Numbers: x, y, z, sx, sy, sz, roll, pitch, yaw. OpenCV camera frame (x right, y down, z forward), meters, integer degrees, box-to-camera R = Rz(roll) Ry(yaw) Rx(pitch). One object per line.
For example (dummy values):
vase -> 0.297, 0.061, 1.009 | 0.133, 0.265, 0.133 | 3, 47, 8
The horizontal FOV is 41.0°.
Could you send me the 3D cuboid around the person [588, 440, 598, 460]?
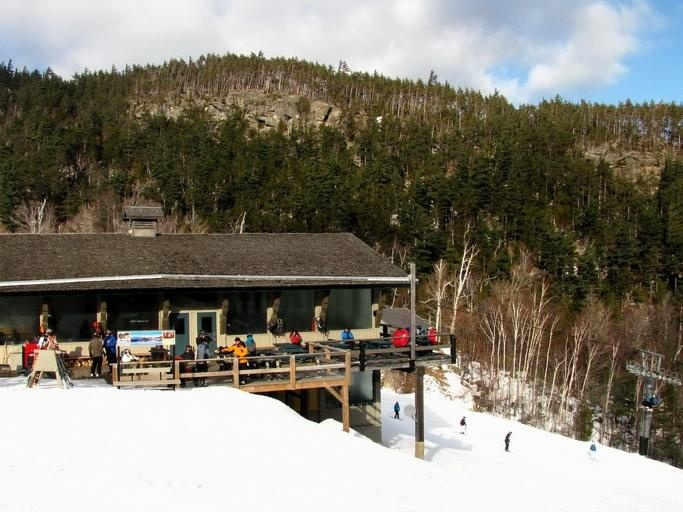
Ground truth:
person -> 21.265, 16.647, 77.596 | 0.419, 1.362, 1.081 | -11, 13, -36
